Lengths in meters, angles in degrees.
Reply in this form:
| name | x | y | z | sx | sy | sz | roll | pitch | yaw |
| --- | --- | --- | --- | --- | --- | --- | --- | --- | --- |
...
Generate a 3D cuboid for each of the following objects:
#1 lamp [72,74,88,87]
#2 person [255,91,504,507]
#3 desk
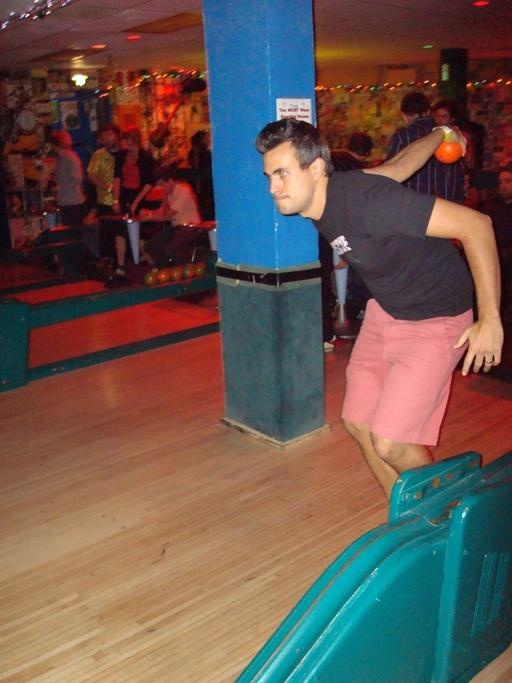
| name | x | y | z | sx | sy | sz | roll | pitch | yaw |
| --- | --- | --- | --- | --- | --- | --- | --- | --- | --- |
| lamp | -3.718 | -5.511 | 11.583 | 0.278 | 0.240 | 0.059 | -1 | 19 | -23 |
| person | 0.444 | -0.056 | 1.797 | 0.409 | 1.319 | 0.747 | -23 | 26 | -38 |
| desk | -1.676 | -1.477 | 7.816 | 0.987 | 0.649 | 0.979 | 5 | 11 | 29 |
